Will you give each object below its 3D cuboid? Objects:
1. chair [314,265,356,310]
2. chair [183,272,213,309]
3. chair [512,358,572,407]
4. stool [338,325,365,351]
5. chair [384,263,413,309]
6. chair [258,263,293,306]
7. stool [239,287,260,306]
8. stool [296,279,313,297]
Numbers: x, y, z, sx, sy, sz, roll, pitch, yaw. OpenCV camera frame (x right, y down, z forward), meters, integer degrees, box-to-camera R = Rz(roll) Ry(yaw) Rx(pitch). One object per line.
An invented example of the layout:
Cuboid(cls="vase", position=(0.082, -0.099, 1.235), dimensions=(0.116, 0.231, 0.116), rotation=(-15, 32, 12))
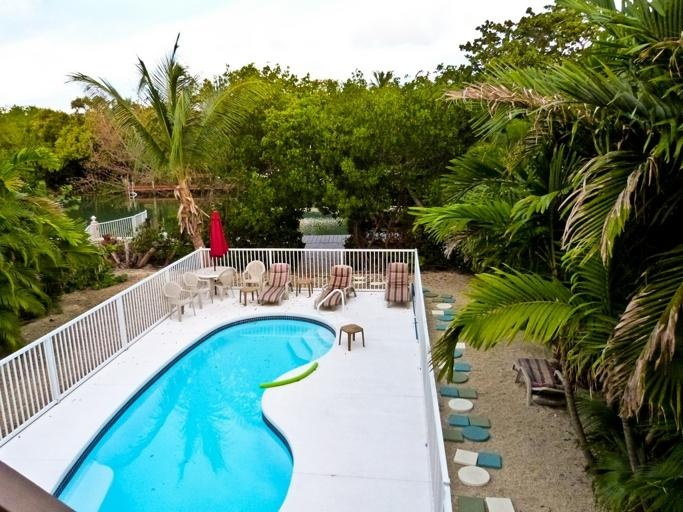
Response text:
Cuboid(cls="chair", position=(-0.211, 1.017, 15.232), dimensions=(0.854, 1.174, 1.718), rotation=(3, 12, 18))
Cuboid(cls="chair", position=(-4.750, 1.018, 15.668), dimensions=(0.885, 1.334, 0.970), rotation=(9, 19, 16))
Cuboid(cls="chair", position=(4.114, 2.518, 9.861), dimensions=(0.860, 0.910, 1.280), rotation=(-2, 14, 12))
Cuboid(cls="stool", position=(0.291, 2.092, 12.426), dimensions=(0.607, 0.655, 0.606), rotation=(-13, 19, -35))
Cuboid(cls="chair", position=(1.801, 0.917, 15.086), dimensions=(0.773, 0.929, 1.319), rotation=(-1, 30, 5))
Cuboid(cls="chair", position=(-2.180, 0.887, 15.698), dimensions=(0.814, 1.064, 1.492), rotation=(1, 13, 8))
Cuboid(cls="stool", position=(-3.063, 1.277, 15.727), dimensions=(0.591, 0.655, 0.618), rotation=(-11, 24, -33))
Cuboid(cls="stool", position=(-1.283, 1.087, 16.510), dimensions=(0.524, 0.595, 0.562), rotation=(1, 10, 4))
